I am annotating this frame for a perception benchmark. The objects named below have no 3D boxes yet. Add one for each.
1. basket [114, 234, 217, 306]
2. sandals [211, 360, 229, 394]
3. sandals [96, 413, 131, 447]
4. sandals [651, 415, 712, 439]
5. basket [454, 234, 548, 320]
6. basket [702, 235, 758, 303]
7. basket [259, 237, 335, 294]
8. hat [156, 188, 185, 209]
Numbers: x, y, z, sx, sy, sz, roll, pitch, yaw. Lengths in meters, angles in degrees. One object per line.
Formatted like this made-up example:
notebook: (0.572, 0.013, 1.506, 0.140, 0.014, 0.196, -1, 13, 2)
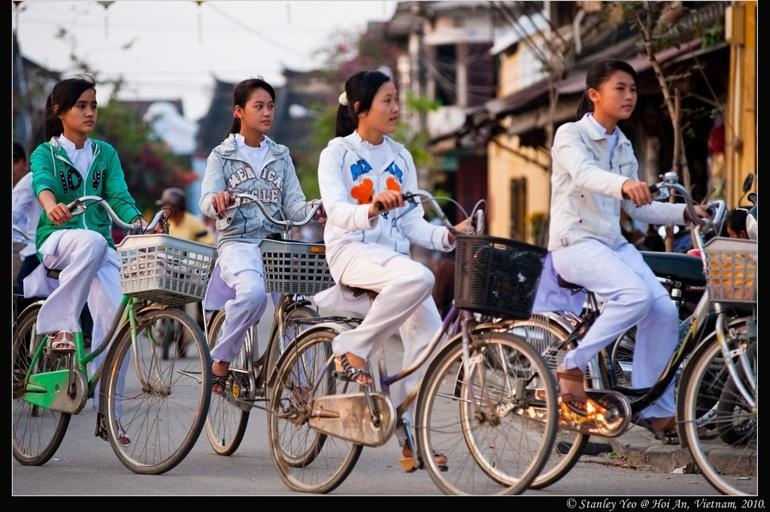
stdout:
basket: (-1.654, 0.100, 8.935, 0.473, 0.403, 0.666, -11, -19, 37)
sandals: (-1.296, 0.914, 9.408, 0.110, 0.266, 0.093, -2, 33, -5)
sandals: (-2.132, 1.366, 9.290, 0.141, 0.168, 0.451, -15, 18, -35)
sandals: (2.150, 1.237, 8.724, 0.551, 0.202, 0.165, -3, -1, 1)
basket: (0.771, 0.166, 8.283, 0.754, 0.520, 0.491, 12, -8, -40)
basket: (2.436, 0.051, 8.407, 0.413, 0.525, 0.565, 1, 6, 14)
basket: (-0.669, 0.094, 8.991, 0.367, 0.314, 0.516, -3, -9, 33)
hat: (-2.573, -0.735, 14.736, 0.261, 0.175, 0.356, -8, -14, 43)
